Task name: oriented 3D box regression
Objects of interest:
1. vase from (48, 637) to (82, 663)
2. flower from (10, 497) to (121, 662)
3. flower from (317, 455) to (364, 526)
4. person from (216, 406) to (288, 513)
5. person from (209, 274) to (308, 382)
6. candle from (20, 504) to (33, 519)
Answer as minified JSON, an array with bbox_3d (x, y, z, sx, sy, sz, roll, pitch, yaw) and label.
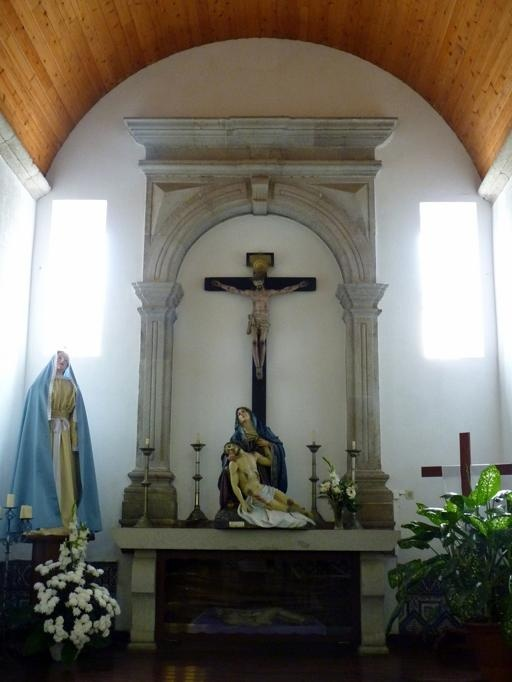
[{"bbox_3d":[-1.123,1.823,4.164,0.196,0.145,0.176,-15,-33,23],"label":"vase"},{"bbox_3d":[-1.107,1.526,4.359,0.533,0.674,0.506,7,-2,-37],"label":"flower"},{"bbox_3d":[0.577,1.019,4.805,0.252,0.439,0.316,3,1,27],"label":"flower"},{"bbox_3d":[-0.038,0.830,5.155,0.491,0.833,0.216,-3,29,3],"label":"person"},{"bbox_3d":[0.018,-0.132,5.529,0.727,0.875,0.184,2,-14,-4],"label":"person"},{"bbox_3d":[-1.408,1.049,4.352,0.090,0.093,0.087,2,-15,2],"label":"candle"}]
